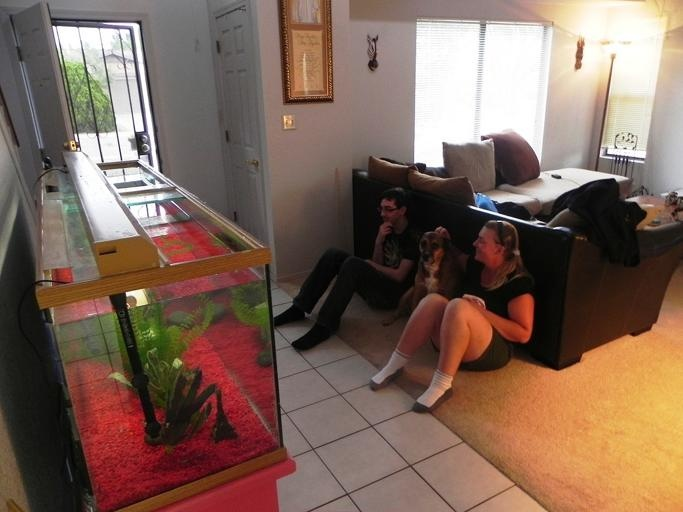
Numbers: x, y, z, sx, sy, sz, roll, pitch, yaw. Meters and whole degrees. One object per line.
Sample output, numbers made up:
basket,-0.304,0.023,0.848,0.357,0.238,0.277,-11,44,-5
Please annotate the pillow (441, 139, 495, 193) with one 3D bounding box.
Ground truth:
pillow,1.172,-0.826,4.257,0.634,0.497,0.220,-12,14,-32

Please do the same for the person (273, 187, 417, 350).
person,0.054,0.040,3.219,1.107,0.918,0.485,-10,21,-30

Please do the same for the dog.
dog,0.599,0.159,3.099,0.502,0.633,0.786,6,0,14

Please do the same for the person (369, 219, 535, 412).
person,0.640,0.285,2.639,0.875,0.994,0.799,-6,16,-39
